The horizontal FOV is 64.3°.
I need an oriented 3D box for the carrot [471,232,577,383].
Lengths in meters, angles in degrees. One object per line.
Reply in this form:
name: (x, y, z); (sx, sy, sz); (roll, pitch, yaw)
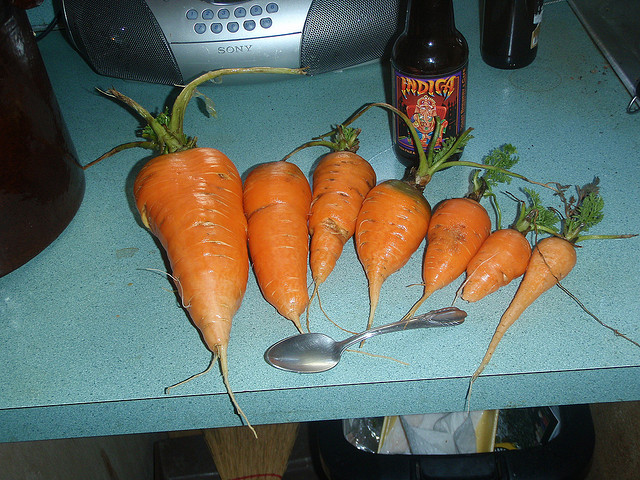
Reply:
carrot: (0.287, 0.089, 0.729); (0.073, 0.073, 0.264); (15, 55, 49)

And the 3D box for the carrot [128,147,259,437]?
carrot: (-0.160, 0.055, 0.767); (0.179, 0.131, 0.501); (-11, 58, -19)

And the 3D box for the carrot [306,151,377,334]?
carrot: (0.021, -0.002, 0.807); (0.103, 0.097, 0.331); (5, 57, 15)

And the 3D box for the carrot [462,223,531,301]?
carrot: (0.264, 0.040, 0.782); (0.123, 0.054, 0.064); (-39, 46, -4)

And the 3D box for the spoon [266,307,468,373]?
spoon: (0.065, 0.136, 0.715); (0.286, 0.033, 0.054); (-11, 49, -9)

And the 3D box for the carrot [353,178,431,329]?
carrot: (0.098, 0.018, 0.781); (0.115, 0.080, 0.248); (20, 63, -5)

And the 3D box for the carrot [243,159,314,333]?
carrot: (-0.063, 0.003, 0.810); (0.115, 0.095, 0.297); (-2, 64, -15)

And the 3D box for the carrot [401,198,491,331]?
carrot: (0.178, 0.038, 0.769); (0.088, 0.076, 0.237); (16, 68, 32)

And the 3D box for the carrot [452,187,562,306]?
carrot: (0.275, 0.017, 0.770); (0.212, 0.074, 0.108); (-46, 36, -20)
